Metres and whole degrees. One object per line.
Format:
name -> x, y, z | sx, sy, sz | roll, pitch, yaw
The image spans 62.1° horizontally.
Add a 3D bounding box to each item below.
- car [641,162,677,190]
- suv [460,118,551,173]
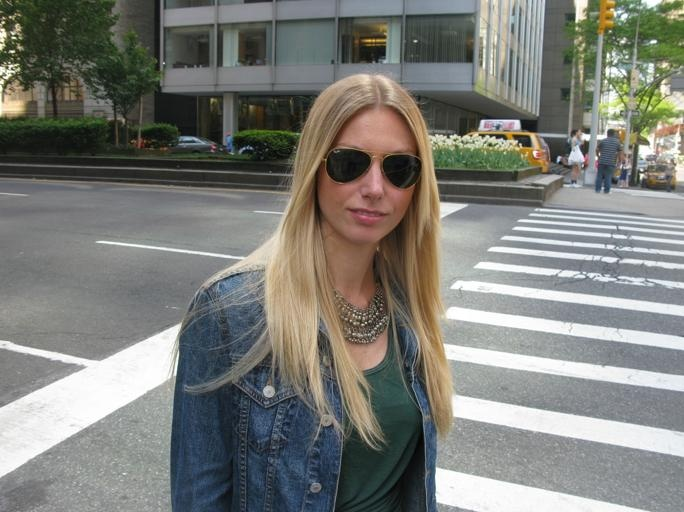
car -> 19.410, -4.919, 34.895 | 1.522, 1.532, 2.869 | 3, 4, 19
suv -> 7.923, -5.121, 26.400 | 3.074, 2.298, 8.244 | 4, 13, 14
